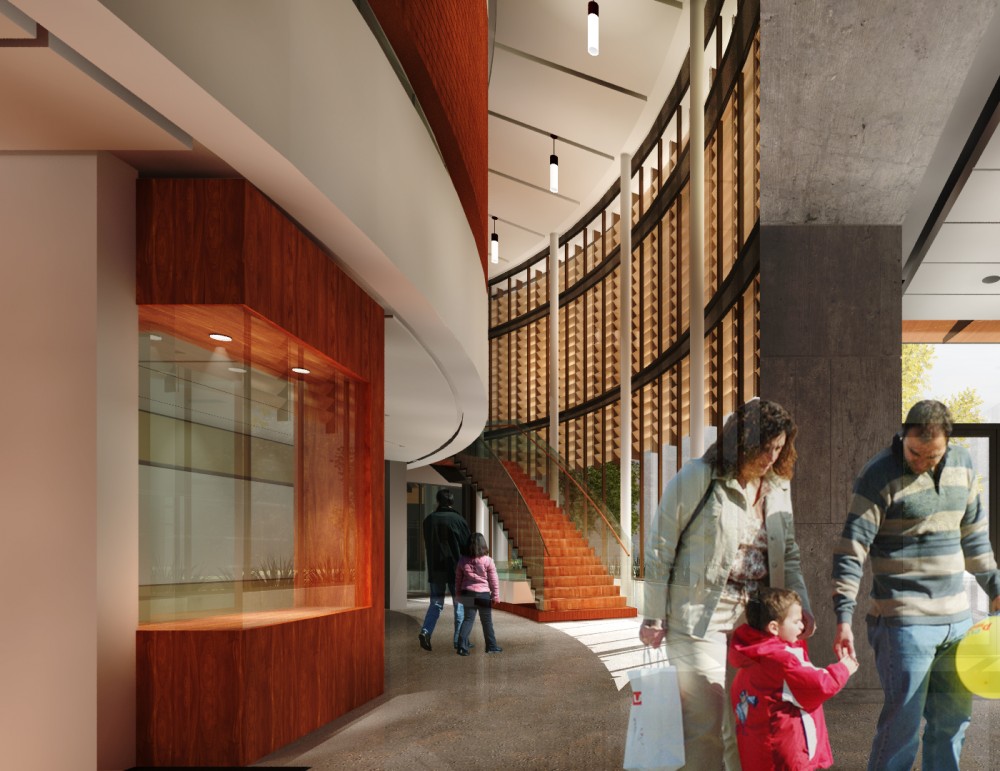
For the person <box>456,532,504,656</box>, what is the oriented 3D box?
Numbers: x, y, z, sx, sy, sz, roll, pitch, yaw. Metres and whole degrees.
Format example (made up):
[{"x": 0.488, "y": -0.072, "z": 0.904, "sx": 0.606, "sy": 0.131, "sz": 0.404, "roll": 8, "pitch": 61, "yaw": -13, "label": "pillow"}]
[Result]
[{"x": -0.227, "y": 2.077, "z": 8.692, "sx": 0.414, "sy": 1.388, "sz": 0.311, "roll": 0, "pitch": 20, "yaw": 2, "label": "person"}]

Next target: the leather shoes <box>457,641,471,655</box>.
[{"x": -0.348, "y": 2.560, "z": 8.427, "sx": 0.133, "sy": 0.160, "sz": 0.075, "roll": 2, "pitch": -5, "yaw": -8, "label": "leather shoes"}]
